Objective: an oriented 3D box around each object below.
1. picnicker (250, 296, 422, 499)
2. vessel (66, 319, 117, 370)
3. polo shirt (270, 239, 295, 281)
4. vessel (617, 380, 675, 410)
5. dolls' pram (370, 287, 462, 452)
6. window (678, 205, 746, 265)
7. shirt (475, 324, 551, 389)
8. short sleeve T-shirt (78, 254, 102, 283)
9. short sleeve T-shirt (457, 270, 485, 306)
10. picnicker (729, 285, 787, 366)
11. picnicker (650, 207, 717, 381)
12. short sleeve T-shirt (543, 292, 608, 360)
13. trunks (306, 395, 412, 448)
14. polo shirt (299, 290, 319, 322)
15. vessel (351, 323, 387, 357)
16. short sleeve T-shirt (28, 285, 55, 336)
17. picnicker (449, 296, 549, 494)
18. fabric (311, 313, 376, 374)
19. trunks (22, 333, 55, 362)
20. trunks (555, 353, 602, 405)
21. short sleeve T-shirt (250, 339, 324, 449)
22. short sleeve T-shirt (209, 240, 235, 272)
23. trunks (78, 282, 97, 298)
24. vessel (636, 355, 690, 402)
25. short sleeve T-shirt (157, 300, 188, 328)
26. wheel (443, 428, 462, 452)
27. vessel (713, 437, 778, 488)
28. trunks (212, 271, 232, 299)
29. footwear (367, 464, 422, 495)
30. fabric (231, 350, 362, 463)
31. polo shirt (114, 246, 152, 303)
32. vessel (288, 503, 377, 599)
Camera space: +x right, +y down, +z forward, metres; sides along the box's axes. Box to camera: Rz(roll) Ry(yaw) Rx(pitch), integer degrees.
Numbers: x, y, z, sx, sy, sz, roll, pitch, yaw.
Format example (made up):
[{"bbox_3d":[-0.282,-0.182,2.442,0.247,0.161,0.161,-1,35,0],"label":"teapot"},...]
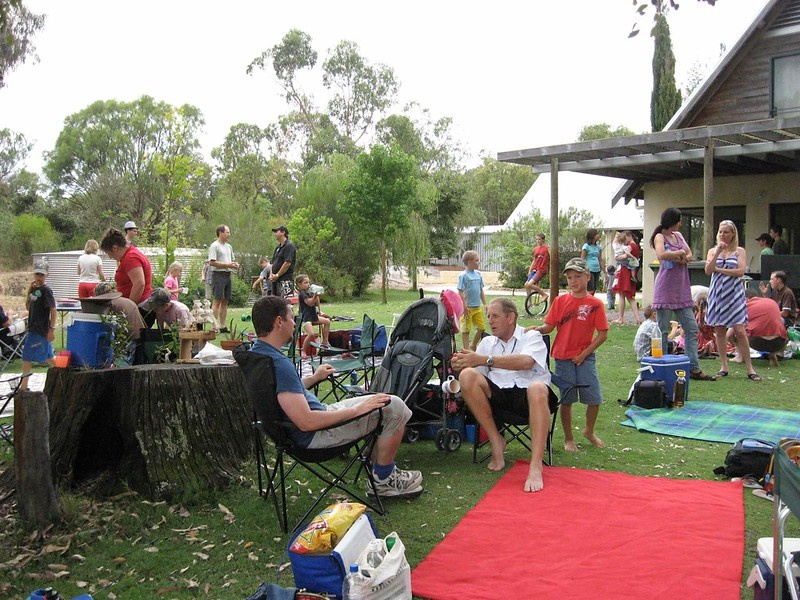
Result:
[{"bbox_3d":[-0.421,0.766,4.761,1.274,1.656,0.974,-6,7,-23],"label":"picnicker"},{"bbox_3d":[-2.657,0.309,5.544,0.377,0.428,0.356,2,11,-24],"label":"vessel"},{"bbox_3d":[-1.959,-0.671,11.086,0.331,0.680,0.611,0,2,-28],"label":"polo shirt"},{"bbox_3d":[2.745,1.011,7.147,0.280,0.372,0.292,2,-4,-28],"label":"vessel"},{"bbox_3d":[0.006,0.605,5.760,0.941,1.443,1.023,4,-2,20],"label":"dolls' pram"},{"bbox_3d":[7.886,-1.498,16.397,1.613,1.773,1.269,0,-1,7],"label":"window"},{"bbox_3d":[0.945,0.486,5.615,0.579,0.587,0.455,-1,-10,25],"label":"shirt"},{"bbox_3d":[-5.411,-0.541,11.356,0.362,0.496,0.390,0,2,-29],"label":"short sleeve T-shirt"},{"bbox_3d":[1.079,-0.174,9.572,0.421,0.534,0.192,-7,10,-21],"label":"short sleeve T-shirt"},{"bbox_3d":[5.068,0.349,9.113,0.725,1.034,0.660,1,-8,5],"label":"picnicker"},{"bbox_3d":[3.414,-0.106,7.829,0.704,1.937,0.499,1,10,28],"label":"picnicker"},{"bbox_3d":[1.580,0.254,5.840,0.528,0.610,0.252,1,2,13],"label":"short sleeve T-shirt"},{"bbox_3d":[-0.293,0.891,4.659,0.577,0.214,0.335,-4,8,-32],"label":"trunks"},{"bbox_3d":[-1.327,0.090,9.426,0.257,0.488,0.397,-2,4,19],"label":"polo shirt"},{"bbox_3d":[-0.360,0.490,7.634,0.352,0.417,0.409,0,2,2],"label":"vessel"},{"bbox_3d":[-4.397,0.136,7.938,0.265,0.627,0.419,-1,2,-37],"label":"short sleeve T-shirt"},{"bbox_3d":[0.918,0.736,5.452,0.904,1.675,0.952,5,-16,-24],"label":"picnicker"},{"bbox_3d":[-0.562,0.676,6.988,0.534,0.916,0.499,-3,7,-19],"label":"fabric"},{"bbox_3d":[-4.410,0.587,7.915,0.339,0.463,0.241,3,-9,-42],"label":"trunks"},{"bbox_3d":[1.627,0.664,5.900,0.425,0.608,0.239,-1,21,16],"label":"trunks"},{"bbox_3d":[-0.744,0.644,4.400,0.515,0.729,0.288,0,2,-20],"label":"short sleeve T-shirt"},{"bbox_3d":[-3.104,-0.767,11.253,0.399,0.521,0.422,0,2,-18],"label":"short sleeve T-shirt"},{"bbox_3d":[-5.292,-0.182,11.004,0.233,0.234,0.588,0,2,-27],"label":"trunks"},{"bbox_3d":[3.030,0.900,7.317,0.468,0.447,0.268,0,0,-36],"label":"vessel"},{"bbox_3d":[-2.622,0.171,7.463,0.227,0.336,0.195,-9,-10,19],"label":"short sleeve T-shirt"},{"bbox_3d":[0.465,1.268,5.815,0.179,0.193,0.068,11,-13,-41],"label":"wheel"},{"bbox_3d":[2.819,1.226,5.209,0.337,0.164,0.270,23,31,38],"label":"vessel"},{"bbox_3d":[-3.123,-0.243,11.389,0.283,0.534,0.261,0,2,-24],"label":"trunks"},{"bbox_3d":[-0.034,1.387,4.987,0.380,0.236,0.182,-4,4,-12],"label":"footwear"},{"bbox_3d":[-0.646,0.765,4.534,0.672,0.745,0.557,-3,-4,-16],"label":"fabric"},{"bbox_3d":[-2.996,-0.298,7.312,0.382,0.657,0.674,0,2,-23],"label":"polo shirt"},{"bbox_3d":[-0.381,1.485,3.799,0.320,0.211,0.440,-13,21,41],"label":"vessel"}]
